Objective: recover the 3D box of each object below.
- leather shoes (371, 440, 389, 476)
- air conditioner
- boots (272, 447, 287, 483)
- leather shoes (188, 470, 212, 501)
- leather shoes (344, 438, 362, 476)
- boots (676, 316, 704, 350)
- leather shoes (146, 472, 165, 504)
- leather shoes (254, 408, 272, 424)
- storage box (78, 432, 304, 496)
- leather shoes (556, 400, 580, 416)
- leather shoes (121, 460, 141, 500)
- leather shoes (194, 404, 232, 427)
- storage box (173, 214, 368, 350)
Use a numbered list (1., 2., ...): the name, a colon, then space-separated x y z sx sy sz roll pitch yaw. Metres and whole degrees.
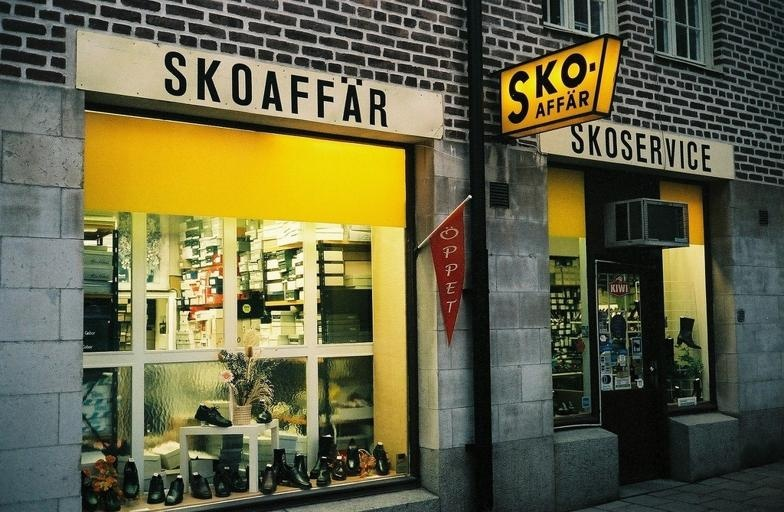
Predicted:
1. leather shoes: -0.130 2.436 9.458 0.153 0.390 0.165 -1 -34 -34
2. air conditioner: 3.707 -0.464 11.327 1.118 0.633 0.625 1 -4 -37
3. boots: -1.298 2.407 9.031 0.130 0.382 0.165 0 -5 -22
4. leather shoes: -2.115 2.540 8.651 0.233 0.279 0.137 -1 -8 -18
5. leather shoes: -0.469 2.317 9.485 0.114 0.117 0.331 -6 7 15
6. boots: 4.522 1.172 11.935 0.436 0.406 0.171 8 -11 6
7. leather shoes: -2.555 2.539 8.484 0.130 0.141 0.370 5 8 -14
8. leather shoes: -1.476 1.849 9.063 0.154 0.082 0.166 -2 -3 39
9. storage box: -2.181 2.304 8.712 2.367 0.714 0.662 3 -8 -26
10. leather shoes: 2.381 2.055 10.641 0.199 0.130 0.268 -2 -5 25
11. leather shoes: -2.814 2.409 8.451 0.171 0.417 0.059 -1 -8 -16
12. leather shoes: -2.042 1.809 8.899 0.528 0.214 0.177 12 -4 -7
13. storage box: -1.399 0.312 9.190 2.392 1.482 0.413 0 -9 -26
